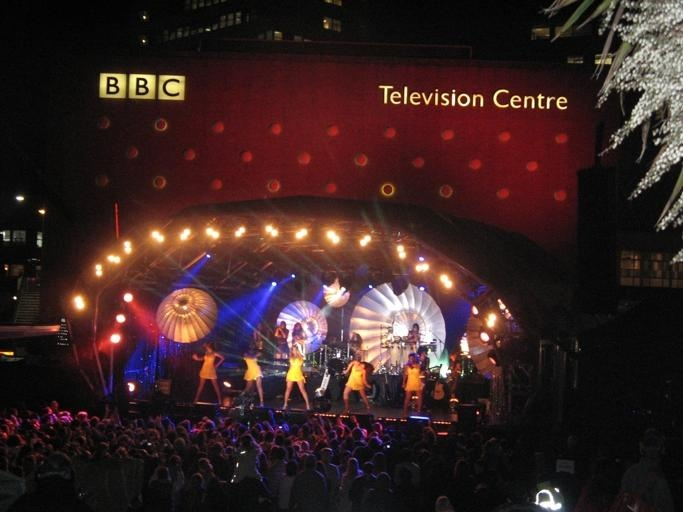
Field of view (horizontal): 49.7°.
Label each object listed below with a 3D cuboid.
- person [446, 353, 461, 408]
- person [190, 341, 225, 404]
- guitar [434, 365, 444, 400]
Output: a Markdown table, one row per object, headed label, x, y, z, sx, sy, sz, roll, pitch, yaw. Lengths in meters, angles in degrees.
| label | x | y | z | sx | sy | sz | roll | pitch | yaw |
| --- | --- | --- | --- | --- | --- | --- | --- | --- | --- |
| person | 3.159 | 3.580 | 20.977 | 0.300 | 0.345 | 1.054 | 25 | 26 | 5 |
| person | -3.831 | 3.328 | 20.773 | 0.846 | 1.980 | 0.745 | -18 | -35 | 21 |
| guitar | 2.693 | 3.657 | 20.501 | 0.332 | 0.677 | 0.468 | 0 | -7 | 15 |
